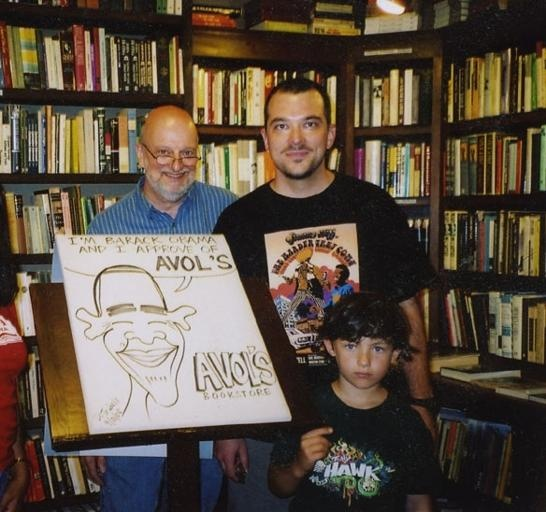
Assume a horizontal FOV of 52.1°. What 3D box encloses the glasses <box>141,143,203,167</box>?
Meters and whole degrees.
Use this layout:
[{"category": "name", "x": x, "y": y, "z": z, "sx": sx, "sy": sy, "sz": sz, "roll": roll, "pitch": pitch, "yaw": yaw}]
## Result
[{"category": "glasses", "x": -0.329, "y": -0.328, "z": 1.814, "sx": 0.180, "sy": 0.076, "sz": 0.093, "roll": -2, "pitch": 9, "yaw": -12}]
